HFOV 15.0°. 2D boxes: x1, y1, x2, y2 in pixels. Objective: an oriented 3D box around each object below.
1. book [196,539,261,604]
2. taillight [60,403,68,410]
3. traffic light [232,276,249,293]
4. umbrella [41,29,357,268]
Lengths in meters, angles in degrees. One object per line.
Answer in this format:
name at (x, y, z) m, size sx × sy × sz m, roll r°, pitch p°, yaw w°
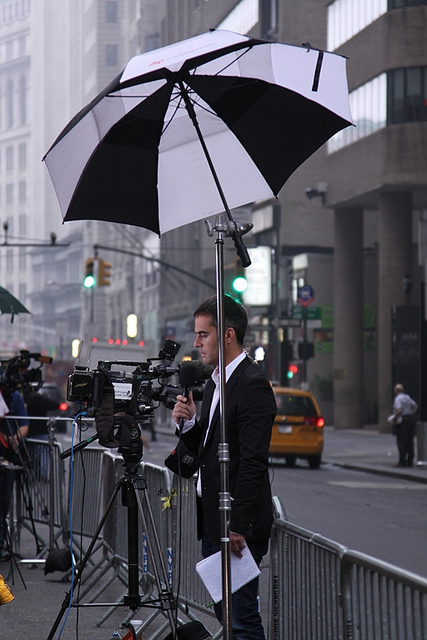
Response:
book at (0.071, 1.411, 8.862) m, size 0.323 × 0.356 × 0.246 m, roll 1°, pitch -3°, yaw -37°
taillight at (-3.327, 1.969, 35.500) m, size 0.112 × 0.140 × 0.123 m, roll -4°, pitch -31°, yaw -8°
traffic light at (0.392, -0.533, 24.884) m, size 0.205 × 0.210 × 0.662 m, roll 0°, pitch -3°, yaw -2°
umbrella at (-0.051, -0.886, 10.444) m, size 1.838 × 1.497 × 2.056 m, roll -7°, pitch 28°, yaw 14°
